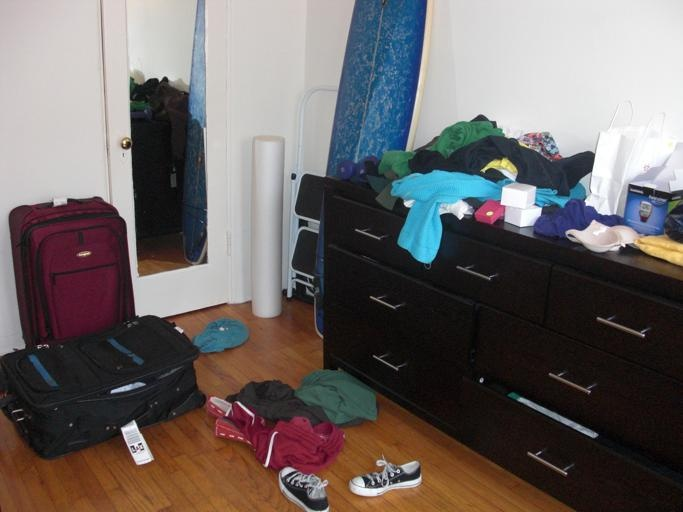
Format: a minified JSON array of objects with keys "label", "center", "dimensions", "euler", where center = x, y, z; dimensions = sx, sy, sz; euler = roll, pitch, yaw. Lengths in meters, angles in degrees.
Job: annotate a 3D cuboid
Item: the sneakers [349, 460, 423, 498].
[{"label":"sneakers","center":[0.186,0.929,2.198],"dimensions":[0.327,0.127,0.125],"euler":[-3,16,-13]}]
